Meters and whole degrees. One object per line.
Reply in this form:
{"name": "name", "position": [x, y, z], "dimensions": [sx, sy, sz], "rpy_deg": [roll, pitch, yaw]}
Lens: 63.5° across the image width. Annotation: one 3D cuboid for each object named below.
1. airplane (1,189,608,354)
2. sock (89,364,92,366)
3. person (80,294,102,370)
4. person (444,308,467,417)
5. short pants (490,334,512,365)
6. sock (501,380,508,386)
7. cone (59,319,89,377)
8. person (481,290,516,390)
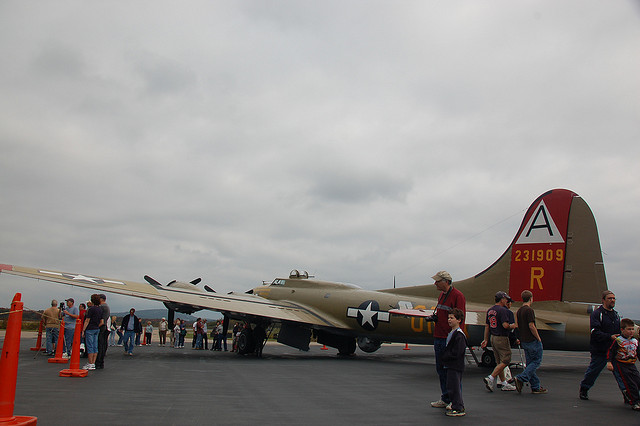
{"name": "airplane", "position": [2.632, 2.699, 21.654], "dimensions": [16.443, 6.645, 9.620], "rpy_deg": [-5, -16, 23]}
{"name": "sock", "position": [-7.282, 4.845, 16.425], "dimensions": [0.034, 0.056, 0.063], "rpy_deg": [-10, -19, 38]}
{"name": "person", "position": [-7.372, 3.849, 16.662], "dimensions": [0.526, 2.392, 0.993], "rpy_deg": [9, -17, -21]}
{"name": "person", "position": [3.239, 3.574, 12.405], "dimensions": [0.547, 2.492, 0.468], "rpy_deg": [-9, -20, 36]}
{"name": "short pants", "position": [5.222, 3.936, 14.882], "dimensions": [0.502, 0.851, 0.329], "rpy_deg": [-2, -16, 15]}
{"name": "sock", "position": [5.388, 4.959, 15.023], "dimensions": [0.168, 0.153, 0.105], "rpy_deg": [9, -17, -25]}
{"name": "cone", "position": [-7.438, 4.134, 15.783], "dimensions": [0.888, 1.601, 0.855], "rpy_deg": [4, -1, -22]}
{"name": "person", "position": [5.243, 3.734, 15.152], "dimensions": [0.917, 2.745, 0.929], "rpy_deg": [-2, -16, 16]}
